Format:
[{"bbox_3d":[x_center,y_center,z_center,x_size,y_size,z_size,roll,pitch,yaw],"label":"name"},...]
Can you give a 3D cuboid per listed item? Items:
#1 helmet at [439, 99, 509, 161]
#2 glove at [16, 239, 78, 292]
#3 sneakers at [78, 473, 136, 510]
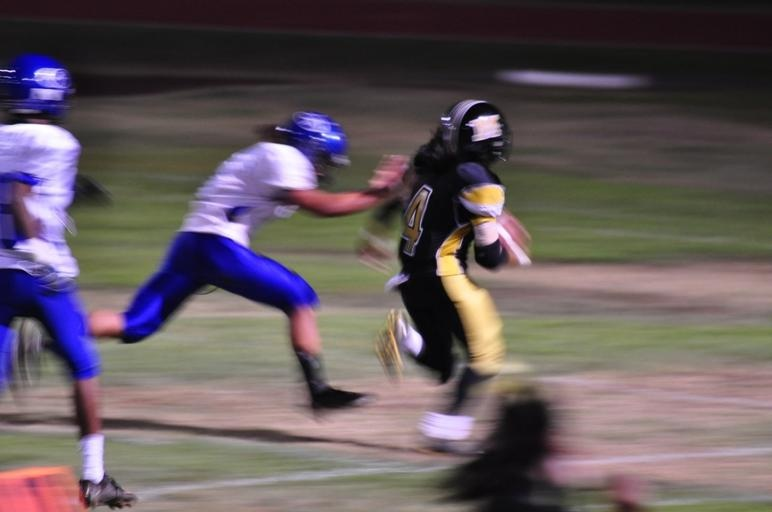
[{"bbox_3d":[0.697,-0.959,10.059,0.548,0.315,0.527,-10,15,-24],"label":"helmet"},{"bbox_3d":[-2.353,-0.022,9.383,0.256,0.273,0.170,-21,5,-39],"label":"glove"},{"bbox_3d":[-1.799,1.634,9.397,0.585,0.182,0.178,5,-2,-29],"label":"sneakers"}]
